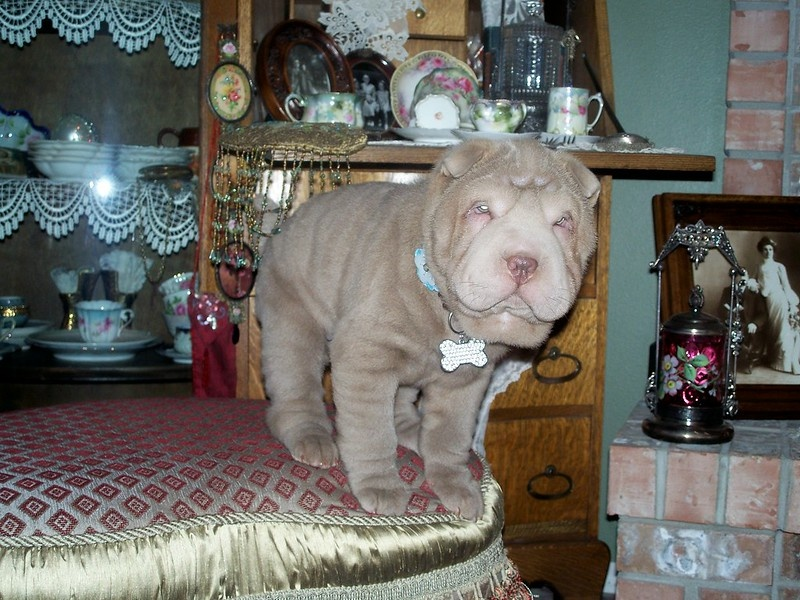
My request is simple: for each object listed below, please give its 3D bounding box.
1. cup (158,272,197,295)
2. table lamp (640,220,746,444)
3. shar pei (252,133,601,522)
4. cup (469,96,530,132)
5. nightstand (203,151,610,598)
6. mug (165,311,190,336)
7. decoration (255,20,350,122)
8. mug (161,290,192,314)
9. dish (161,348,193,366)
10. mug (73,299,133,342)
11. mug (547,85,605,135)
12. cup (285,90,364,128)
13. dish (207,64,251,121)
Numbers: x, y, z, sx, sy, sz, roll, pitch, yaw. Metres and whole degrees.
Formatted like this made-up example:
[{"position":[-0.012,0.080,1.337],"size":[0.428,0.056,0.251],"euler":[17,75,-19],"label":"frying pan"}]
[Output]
[{"position":[-0.602,-0.047,2.101],"size":[0.079,0.055,0.082],"euler":[-22,-26,-12],"label":"cup"},{"position":[0.731,0.063,1.930],"size":[0.219,0.522,0.315],"euler":[2,6,25],"label":"table lamp"},{"position":[-0.025,0.018,1.647],"size":[0.355,0.762,0.862],"euler":[6,7,-37],"label":"shar pei"},{"position":[0.231,-0.429,1.796],"size":[0.088,0.070,0.091],"euler":[0,1,0],"label":"cup"},{"position":[-0.014,0.013,1.631],"size":[0.320,0.738,0.855],"euler":[5,6,-37],"label":"nightstand"},{"position":[-0.603,0.060,2.102],"size":[0.066,0.058,0.071],"euler":[3,4,12],"label":"mug"},{"position":[-0.271,-0.586,1.994],"size":[0.054,0.241,0.253],"euler":[33,27,15],"label":"decoration"},{"position":[-0.602,-0.006,2.128],"size":[0.078,0.070,0.080],"euler":[4,5,26],"label":"mug"},{"position":[-0.602,0.153,2.100],"size":[0.059,0.017,0.062],"euler":[11,11,39],"label":"dish"},{"position":[-0.803,0.066,2.121],"size":[0.145,0.120,0.128],"euler":[3,8,10],"label":"mug"},{"position":[0.437,-0.460,1.924],"size":[0.132,0.133,0.090],"euler":[2,6,-1],"label":"mug"},{"position":[-0.181,-0.452,1.864],"size":[0.164,0.092,0.114],"euler":[4,11,22],"label":"cup"},{"position":[-0.413,-0.503,1.850],"size":[0.113,0.156,0.020],"euler":[-2,11,-12],"label":"dish"}]
